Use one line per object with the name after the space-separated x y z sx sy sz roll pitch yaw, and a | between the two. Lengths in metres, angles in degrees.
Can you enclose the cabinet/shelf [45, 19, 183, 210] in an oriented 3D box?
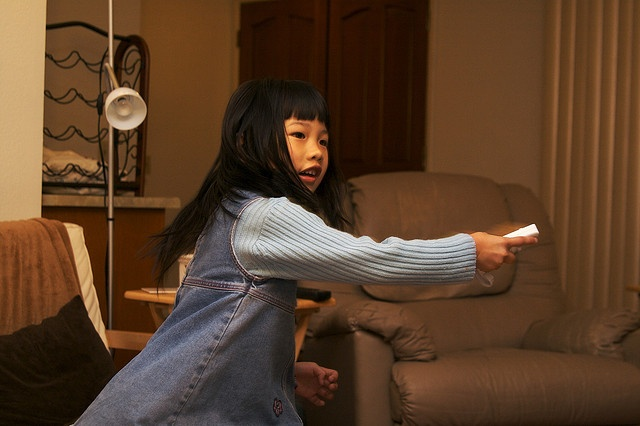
-1.361 -0.547 3.776 0.738 1.139 0.768 8 10 28 | cabinet/shelf
